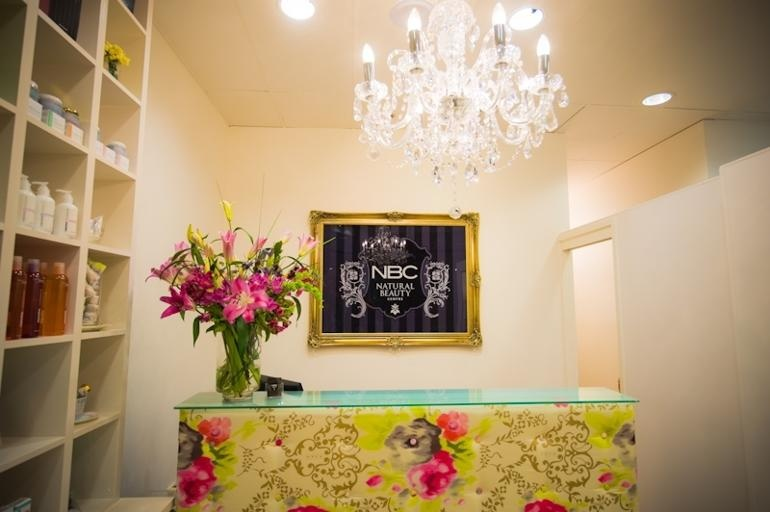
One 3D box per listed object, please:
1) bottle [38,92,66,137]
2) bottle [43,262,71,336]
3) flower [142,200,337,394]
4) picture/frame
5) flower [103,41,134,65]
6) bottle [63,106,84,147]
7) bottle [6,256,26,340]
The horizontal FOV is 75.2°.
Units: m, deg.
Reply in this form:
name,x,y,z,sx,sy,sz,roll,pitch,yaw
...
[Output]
name,x,y,z,sx,sy,sz,roll,pitch,yaw
bottle,-1.771,-0.742,2.651,0.111,0.186,0.116,0,-1,0
bottle,-1.749,0.225,2.668,0.090,0.381,0.089,2,-3,0
flower,-0.916,0.252,3.065,0.970,1.185,1.114,0,-12,5
picture/frame,0.046,0.243,4.495,1.137,0.969,0.066,0,-6,-2
flower,-1.586,-1.192,2.961,0.146,0.073,0.150,23,-4,-18
bottle,-1.684,-0.708,2.708,0.097,0.168,0.165,5,4,-2
bottle,-1.829,0.206,2.499,0.061,0.405,0.103,4,-10,-17
